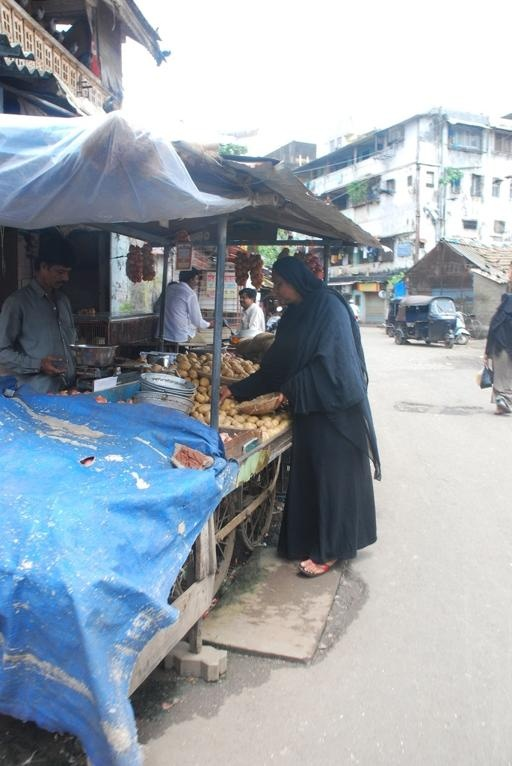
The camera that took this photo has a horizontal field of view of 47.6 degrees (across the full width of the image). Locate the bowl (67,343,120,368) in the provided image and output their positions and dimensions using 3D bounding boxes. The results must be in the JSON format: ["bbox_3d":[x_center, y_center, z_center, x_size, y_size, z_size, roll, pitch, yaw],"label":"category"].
[{"bbox_3d":[-0.875,-0.148,3.170,0.231,0.126,0.188,-1,6,-14],"label":"bowl"}]

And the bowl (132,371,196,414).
[{"bbox_3d":[-0.440,0.017,2.810,0.280,0.185,0.256,3,9,0],"label":"bowl"}]
